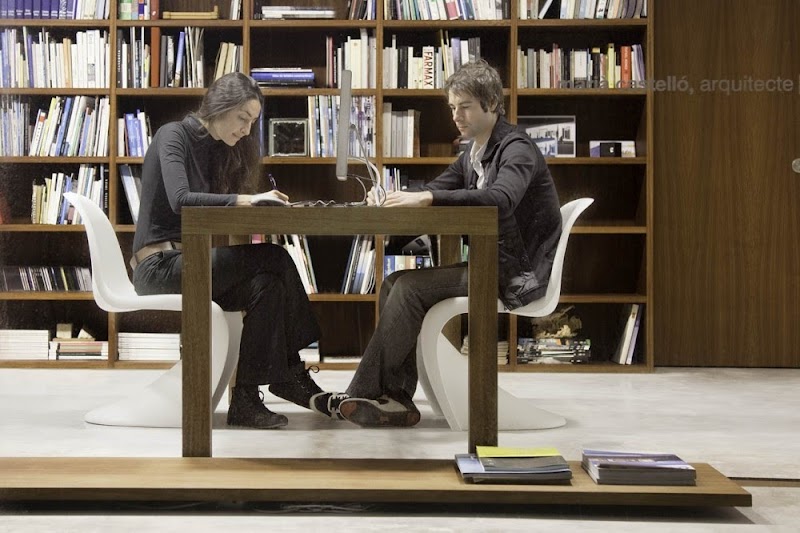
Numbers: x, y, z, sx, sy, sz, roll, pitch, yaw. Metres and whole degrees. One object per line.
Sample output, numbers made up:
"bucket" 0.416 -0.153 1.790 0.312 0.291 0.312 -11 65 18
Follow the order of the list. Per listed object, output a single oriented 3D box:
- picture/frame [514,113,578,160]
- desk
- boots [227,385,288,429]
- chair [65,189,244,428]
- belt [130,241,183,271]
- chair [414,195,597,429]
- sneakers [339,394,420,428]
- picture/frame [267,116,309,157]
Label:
"picture/frame" 0.817 -0.726 4.308 0.472 0.320 0.065 0 -2 4
"desk" -0.280 0.228 3.195 0.940 0.666 0.913 0 -1 1
"boots" -0.610 0.597 3.357 0.304 0.181 0.106 -2 -8 30
"chair" -1.147 0.253 3.788 1.062 1.271 0.750 0 -1 -4
"belt" -1.083 -0.066 3.494 0.189 0.043 0.186 23 48 19
"chair" 0.457 0.197 3.584 0.861 1.029 0.628 3 -2 -4
"sneakers" -0.083 0.621 3.330 0.410 0.132 0.173 5 24 -20
"picture/frame" -0.664 -0.783 4.671 0.249 0.220 0.059 1 0 4
